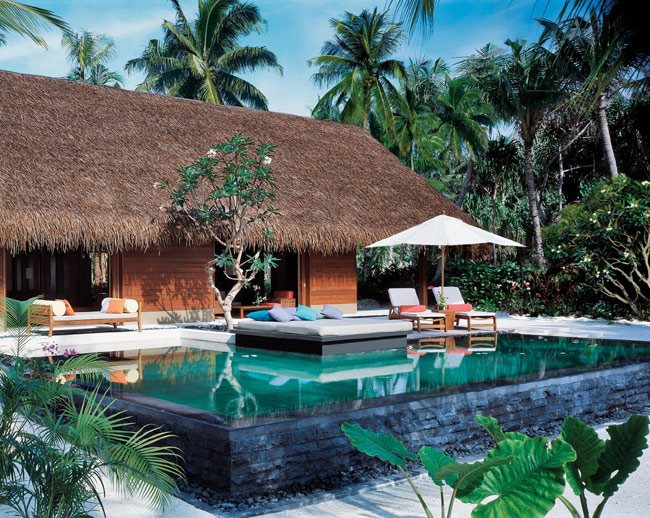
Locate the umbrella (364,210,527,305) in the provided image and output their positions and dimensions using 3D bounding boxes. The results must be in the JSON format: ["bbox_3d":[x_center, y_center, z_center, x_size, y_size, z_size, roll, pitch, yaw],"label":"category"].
[{"bbox_3d":[2.947,-0.546,13.471,2.717,2.222,2.975,0,0,-1],"label":"umbrella"}]

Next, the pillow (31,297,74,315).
[{"bbox_3d":[-5.776,1.067,10.980,0.580,0.354,0.997,-3,-3,-3],"label":"pillow"}]

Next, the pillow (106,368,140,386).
[{"bbox_3d":[-2.793,1.632,7.198,0.389,0.072,1.504,-2,-3,-21],"label":"pillow"}]

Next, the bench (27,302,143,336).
[{"bbox_3d":[-5.320,1.283,11.567,2.027,0.733,3.116,-2,-3,-27],"label":"bench"}]
